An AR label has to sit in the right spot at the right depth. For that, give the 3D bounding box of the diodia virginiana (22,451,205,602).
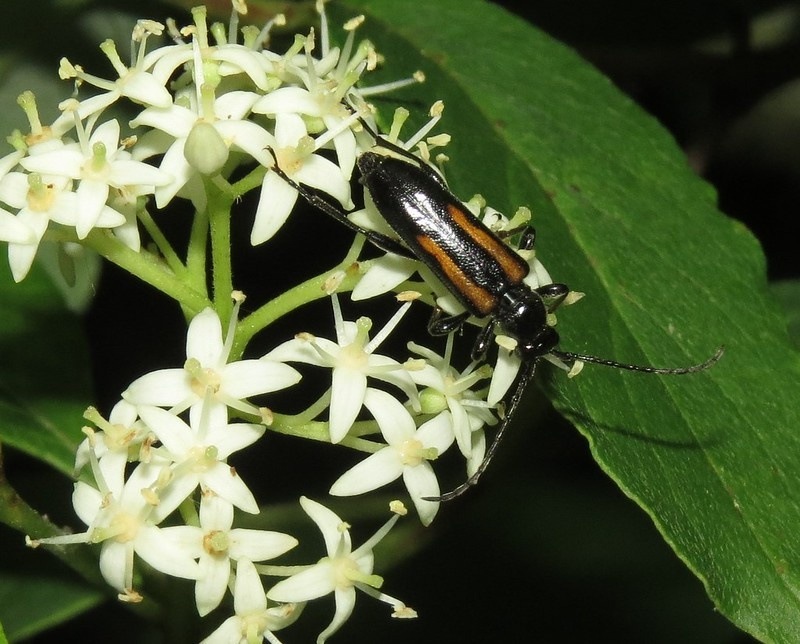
[{"bbox_3d":[-0.765,0.511,2.530,0.326,0.436,0.464,-1,14,39],"label":"diodia virginiana"}]

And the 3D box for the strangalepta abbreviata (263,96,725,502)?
[{"bbox_3d":[0.216,-0.216,2.851,1.325,1.333,0.530,-5,18,-21],"label":"strangalepta abbreviata"}]

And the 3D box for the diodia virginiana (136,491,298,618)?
[{"bbox_3d":[-0.530,0.614,2.398,0.396,0.083,0.282,15,41,10],"label":"diodia virginiana"}]
